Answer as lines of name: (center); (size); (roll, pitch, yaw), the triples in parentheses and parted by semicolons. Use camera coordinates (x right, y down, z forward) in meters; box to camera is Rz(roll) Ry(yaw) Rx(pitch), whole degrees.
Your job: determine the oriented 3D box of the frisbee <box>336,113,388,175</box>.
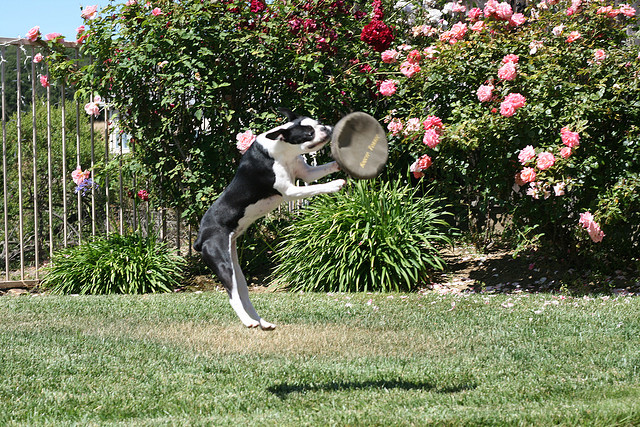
frisbee: (0.397, -0.664, 9.008); (0.516, 0.585, 0.091); (-1, -2, -26)
